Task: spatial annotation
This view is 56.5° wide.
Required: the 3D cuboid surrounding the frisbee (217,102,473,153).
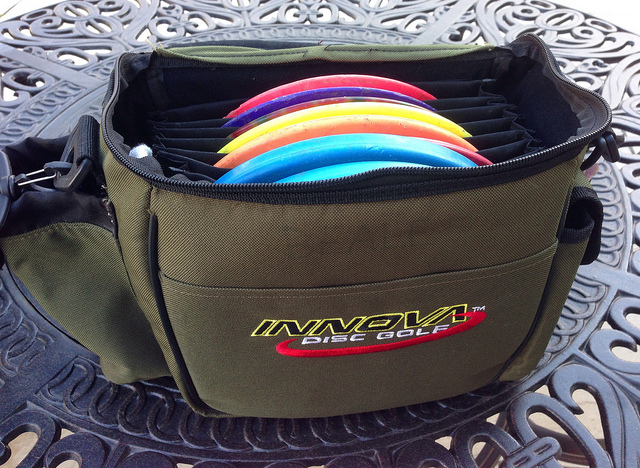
[{"bbox_3d":[0.047,-0.222,1.125,0.217,0.037,0.194,-18,32,-24],"label":"frisbee"}]
